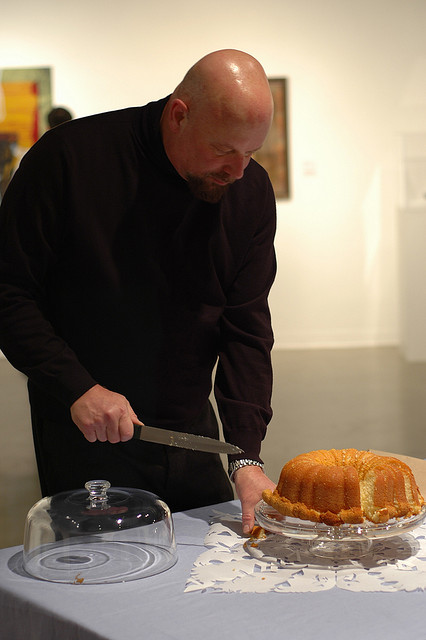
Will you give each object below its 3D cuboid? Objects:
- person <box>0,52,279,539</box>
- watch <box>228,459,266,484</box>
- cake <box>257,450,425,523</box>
[{"bbox_3d":[-0.091,-0.052,1.240,0.499,0.757,0.503,-1,1,16],"label":"person"},{"bbox_3d":[0.056,0.269,1.122,0.052,0.016,0.043,2,2,-9],"label":"watch"},{"bbox_3d":[0.168,0.206,0.872,0.139,0.038,0.118,0,-6,-36],"label":"cake"}]
